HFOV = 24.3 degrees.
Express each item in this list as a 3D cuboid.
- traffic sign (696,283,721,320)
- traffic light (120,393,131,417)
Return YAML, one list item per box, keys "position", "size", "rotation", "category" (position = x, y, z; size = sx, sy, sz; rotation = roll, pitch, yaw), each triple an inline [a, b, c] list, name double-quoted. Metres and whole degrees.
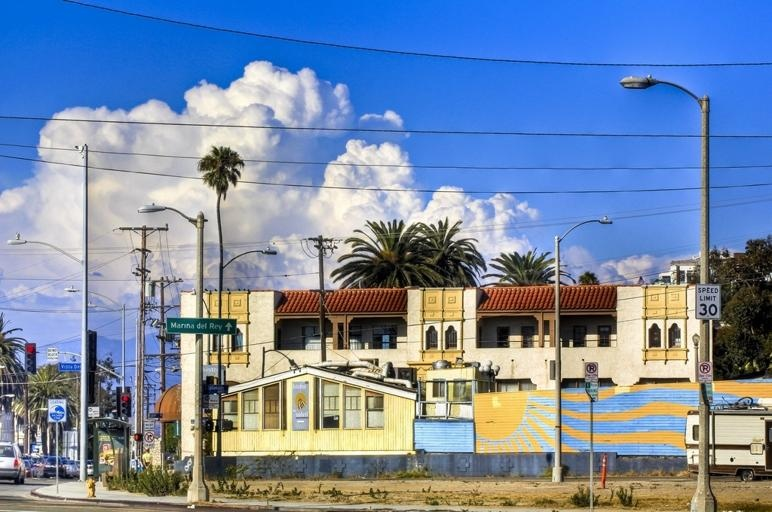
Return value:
- position: [20.091, 2.894, 112.161]
  size: [2.071, 2.988, 0.208]
  rotation: [1, -3, 2]
  category: "traffic sign"
- position: [-20.020, 11.523, 137.652]
  size: [0.894, 2.301, 1.346]
  rotation: [1, -10, -12]
  category: "traffic light"
